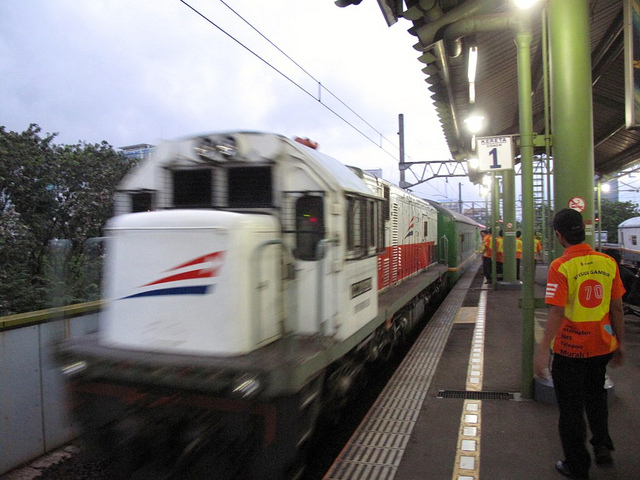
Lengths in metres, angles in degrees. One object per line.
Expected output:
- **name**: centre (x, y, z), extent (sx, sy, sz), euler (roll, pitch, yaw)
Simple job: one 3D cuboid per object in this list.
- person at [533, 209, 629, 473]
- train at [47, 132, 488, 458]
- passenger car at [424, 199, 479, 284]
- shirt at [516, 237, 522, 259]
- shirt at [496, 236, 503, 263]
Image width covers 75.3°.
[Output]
- **person**: centre (2.323, 0.917, 3.696), extent (0.973, 2.374, 0.376), euler (-4, 3, -31)
- **train**: centre (-0.011, 0.575, 6.123), extent (2.138, 3.586, 6.055), euler (-1, 2, 29)
- **passenger car**: centre (6.839, 0.040, 18.901), extent (2.012, 2.782, 9.657), euler (-3, -1, 19)
- **shirt**: centre (7.010, 0.301, 14.610), extent (0.112, 0.693, 0.990), euler (-1, 2, 31)
- **shirt**: centre (6.759, 0.313, 15.581), extent (0.198, 0.900, 1.100), euler (-1, 2, 25)
